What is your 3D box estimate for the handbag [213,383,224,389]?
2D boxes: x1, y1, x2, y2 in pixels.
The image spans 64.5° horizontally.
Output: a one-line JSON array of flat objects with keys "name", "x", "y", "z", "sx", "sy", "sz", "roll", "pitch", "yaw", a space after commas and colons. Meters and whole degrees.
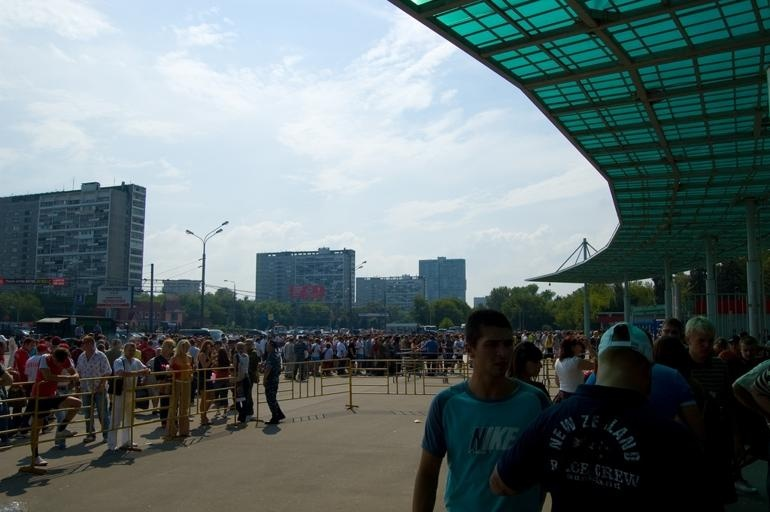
[{"name": "handbag", "x": -4.843, "y": 3.746, "z": 17.687, "sx": 0.308, "sy": 0.067, "sz": 0.269, "roll": -6, "pitch": -30, "yaw": 27}]

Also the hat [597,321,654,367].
[{"name": "hat", "x": 2.323, "y": 0.821, "z": 5.825, "sx": 0.443, "sy": 0.283, "sz": 0.604, "roll": 2, "pitch": -24, "yaw": 30}]
